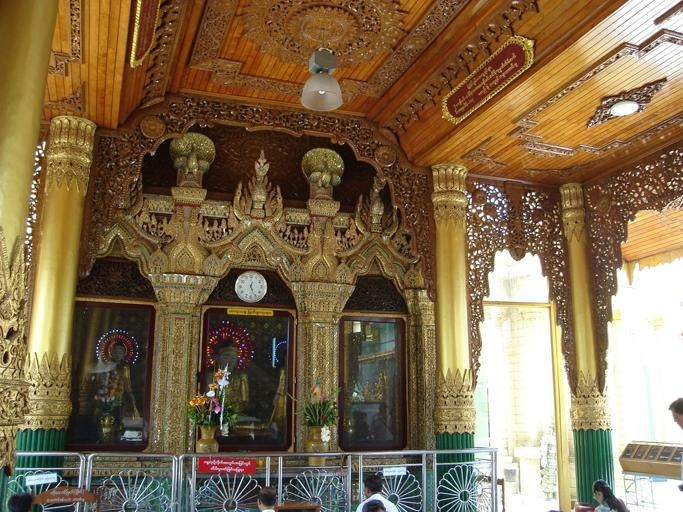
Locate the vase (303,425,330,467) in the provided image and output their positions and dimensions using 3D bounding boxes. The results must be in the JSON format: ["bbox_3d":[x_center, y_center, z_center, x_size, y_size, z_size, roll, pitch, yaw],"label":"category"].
[{"bbox_3d":[-0.283,2.049,6.697,0.382,0.573,0.371,2,-21,-5],"label":"vase"}]

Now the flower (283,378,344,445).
[{"bbox_3d":[-0.255,1.754,6.750,0.585,0.628,0.505,-6,-18,14],"label":"flower"}]

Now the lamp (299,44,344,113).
[{"bbox_3d":[-0.166,-1.573,5.338,0.330,0.483,0.332,2,-3,-1],"label":"lamp"}]

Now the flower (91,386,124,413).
[{"bbox_3d":[-2.492,1.544,6.599,0.236,0.195,0.224,-5,-15,25],"label":"flower"}]

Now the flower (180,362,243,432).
[{"bbox_3d":[-1.370,1.488,6.612,0.506,0.713,0.656,3,-16,-14],"label":"flower"}]

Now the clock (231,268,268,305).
[{"bbox_3d":[-1.094,0.383,7.349,0.357,0.381,0.365,8,-14,-16],"label":"clock"}]

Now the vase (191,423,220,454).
[{"bbox_3d":[-1.396,1.914,6.494,0.312,0.357,0.316,2,-21,-8],"label":"vase"}]
